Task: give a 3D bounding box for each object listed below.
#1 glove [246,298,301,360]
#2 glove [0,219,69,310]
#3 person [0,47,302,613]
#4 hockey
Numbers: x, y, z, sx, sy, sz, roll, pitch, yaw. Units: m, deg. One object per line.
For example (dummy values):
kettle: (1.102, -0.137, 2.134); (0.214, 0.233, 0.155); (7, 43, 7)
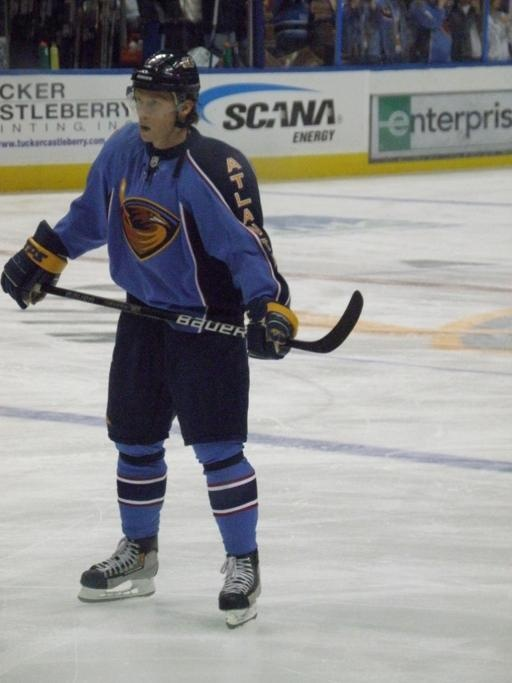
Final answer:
glove: (0.032, -0.028, 1.956); (0.104, 0.117, 0.119); (5, 5, 4)
glove: (-0.525, -0.192, 2.346); (0.145, 0.236, 0.086); (47, 22, 5)
person: (-0.242, -0.020, 2.142); (0.721, 1.220, 0.424); (6, 15, 22)
hockey: (-0.129, -0.048, 2.175); (0.756, 0.173, 0.288); (4, 14, 17)
